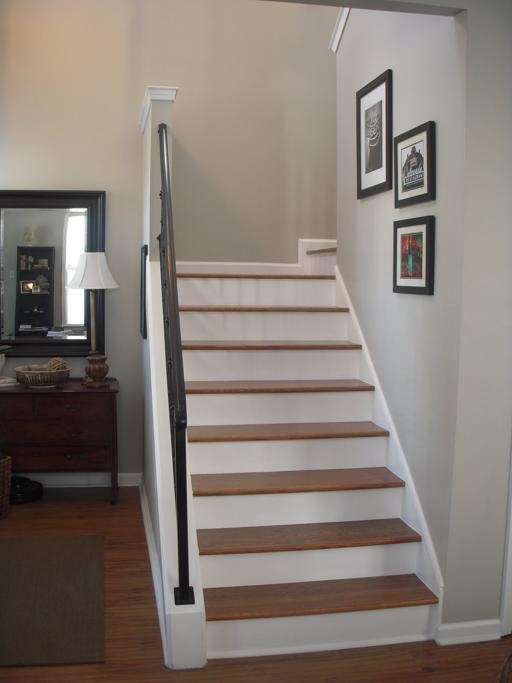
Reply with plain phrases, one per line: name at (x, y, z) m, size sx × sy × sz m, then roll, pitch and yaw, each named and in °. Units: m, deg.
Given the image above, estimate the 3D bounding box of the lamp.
lamp at (-1.062, -0.159, 3.588) m, size 0.292 × 0.884 × 0.462 m, roll 0°, pitch 1°, yaw -17°

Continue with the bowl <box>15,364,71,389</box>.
bowl at (-1.326, 0.221, 3.418) m, size 0.187 × 0.095 × 0.213 m, roll -2°, pitch 5°, yaw -20°
